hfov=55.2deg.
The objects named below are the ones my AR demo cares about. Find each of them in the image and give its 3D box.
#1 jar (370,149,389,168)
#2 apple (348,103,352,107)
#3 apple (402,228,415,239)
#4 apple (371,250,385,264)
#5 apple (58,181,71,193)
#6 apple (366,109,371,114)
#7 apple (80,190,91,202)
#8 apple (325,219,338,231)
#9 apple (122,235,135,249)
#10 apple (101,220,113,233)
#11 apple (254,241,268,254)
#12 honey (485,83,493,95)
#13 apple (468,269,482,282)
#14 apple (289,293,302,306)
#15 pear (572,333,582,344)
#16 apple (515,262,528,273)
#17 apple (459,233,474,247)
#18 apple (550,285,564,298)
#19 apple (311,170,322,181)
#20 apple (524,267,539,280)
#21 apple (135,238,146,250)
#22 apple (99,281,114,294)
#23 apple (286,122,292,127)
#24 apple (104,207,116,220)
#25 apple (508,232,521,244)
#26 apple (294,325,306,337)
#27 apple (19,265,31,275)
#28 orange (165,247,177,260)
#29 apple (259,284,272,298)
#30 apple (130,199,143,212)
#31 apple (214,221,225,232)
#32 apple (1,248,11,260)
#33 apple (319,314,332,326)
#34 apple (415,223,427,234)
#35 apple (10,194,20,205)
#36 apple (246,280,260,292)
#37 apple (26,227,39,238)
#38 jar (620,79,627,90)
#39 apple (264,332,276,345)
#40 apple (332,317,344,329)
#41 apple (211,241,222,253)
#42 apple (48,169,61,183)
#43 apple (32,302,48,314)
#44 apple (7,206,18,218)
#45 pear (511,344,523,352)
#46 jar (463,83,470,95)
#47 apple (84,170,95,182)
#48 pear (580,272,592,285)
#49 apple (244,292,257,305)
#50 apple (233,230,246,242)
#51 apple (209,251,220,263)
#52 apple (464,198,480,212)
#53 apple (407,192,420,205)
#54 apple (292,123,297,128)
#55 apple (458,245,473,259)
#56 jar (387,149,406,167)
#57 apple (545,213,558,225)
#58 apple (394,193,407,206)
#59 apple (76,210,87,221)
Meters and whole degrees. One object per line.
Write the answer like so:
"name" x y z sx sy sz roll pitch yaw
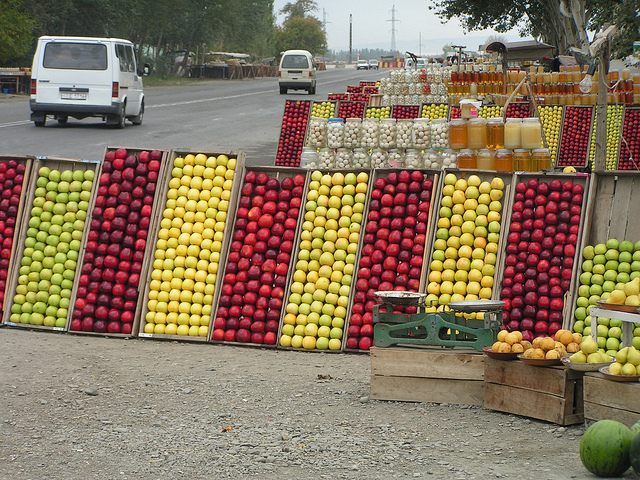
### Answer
"jar" 1.049 -1.384 10.815 0.416 0.428 0.393 0 5 0
"apple" 0.934 -4.083 18.866 0.136 0.107 0.079 0 6 -12
"apple" 1.155 -0.062 7.928 0.139 0.127 0.130 -1 41 -2
"apple" 0.757 0.239 7.924 0.161 0.154 0.146 -7 -19 8
"apple" -3.649 -0.734 8.808 0.162 0.148 0.151 -3 -41 0
"apple" 1.500 -3.868 18.829 0.137 0.145 0.162 1 6 4
"apple" -3.316 -0.601 8.656 0.169 0.156 0.058 3 6 20
"apple" 0.155 -0.185 8.190 0.131 0.148 0.134 7 10 44
"apple" -2.632 0.046 8.514 0.139 0.150 0.141 25 -21 21
"apple" -2.920 -0.172 8.428 0.143 0.163 0.144 0 0 -18
"apple" -0.801 0.118 8.276 0.156 0.137 0.148 -1 5 4
"honey" 5.744 -5.057 20.791 0.256 0.348 0.136 2 5 11
"apple" 1.910 0.450 7.557 0.149 0.141 0.145 -3 2 5
"apple" -0.321 0.789 8.043 0.152 0.138 0.148 -3 7 1
"pear" 2.525 0.969 6.000 0.093 0.104 0.091 4 -20 -1
"apple" 2.466 0.357 7.501 0.120 0.113 0.124 -1 4 -16
"apple" 1.854 0.001 7.728 0.157 0.141 0.153 9 25 28
"apple" 2.823 0.630 7.302 0.143 0.149 0.144 1 7 -19
"apple" -0.061 -0.851 8.468 0.127 0.139 0.122 5 33 -18
"apple" 2.577 0.422 7.448 0.147 0.138 0.144 -1 0 35
"apple" -2.474 0.078 8.435 0.147 0.148 0.081 0 5 -8
"apple" -2.918 0.660 8.375 0.172 0.159 0.147 -6 -39 -4
"apple" -0.853 -3.147 17.068 0.121 0.115 0.114 1 3 3
"apple" -2.909 -0.339 8.479 0.154 0.175 0.147 3 1 -5
"apple" 2.405 -0.004 7.566 0.132 0.126 0.127 -5 5 28
"apple" -0.259 1.181 7.988 0.148 0.136 0.136 1 13 2
"apple" -4.157 0.438 8.656 0.187 0.131 0.059 3 6 23
"orange" -2.039 0.202 8.378 0.172 0.155 0.078 1 5 -4
"apple" -0.719 0.688 8.134 0.161 0.146 0.153 -2 2 2
"apple" -2.548 -0.452 8.500 0.158 0.171 0.085 -1 6 -22
"apple" -1.370 -0.167 8.387 0.130 0.126 0.070 17 -2 13
"apple" -4.451 0.213 8.689 0.142 0.164 0.140 -5 -6 4
"apple" 0.077 1.052 7.965 0.148 0.136 0.137 1 -6 1
"apple" 1.305 -0.130 7.896 0.128 0.115 0.124 -13 8 1
"apple" -4.353 -0.560 8.762 0.127 0.148 0.123 3 2 5
"apple" -0.888 0.631 8.180 0.153 0.136 0.144 0 9 2
"apple" -4.082 -0.079 8.724 0.132 0.127 0.122 3 -13 3
"jar" 10.598 -5.322 21.345 0.214 0.361 0.156 3 6 16
"apple" -0.651 1.298 8.048 0.148 0.141 0.145 0 3 -1
"apple" 0.234 1.084 7.922 0.138 0.122 0.125 -1 -7 4
"apple" -1.410 0.108 8.343 0.131 0.147 0.130 10 4 -18
"apple" -3.810 -0.888 8.811 0.194 0.176 0.099 2 6 13
"apple" -3.887 0.953 8.501 0.160 0.154 0.154 11 -11 -32
"apple" -4.390 -0.384 8.835 0.137 0.158 0.144 -1 6 -1
"pear" 1.854 1.020 5.752 0.081 0.062 0.061 -21 -28 13
"jar" 5.053 -5.123 21.106 0.218 0.377 0.152 1 5 4
"apple" -3.274 -0.886 8.701 0.174 0.156 0.084 2 5 7
"pear" 3.143 0.467 7.249 0.125 0.147 0.135 2 -13 36
"apple" -0.924 0.781 8.149 0.148 0.136 0.146 0 10 4
"apple" -1.096 -0.035 8.381 0.154 0.143 0.151 -6 1 5
"apple" -1.424 0.249 8.399 0.121 0.137 0.124 28 15 16
"apple" 1.925 -0.422 7.761 0.163 0.147 0.152 3 10 27
"apple" 1.228 -0.511 7.990 0.150 0.139 0.146 -2 4 4
"apple" -0.707 -3.122 17.013 0.108 0.100 0.104 -2 11 -9
"apple" 1.817 0.158 7.649 0.157 0.145 0.158 2 2 24
"jar" 1.295 -1.388 10.564 0.331 0.311 0.338 1 4 0
"apple" 2.826 -0.234 7.508 0.137 0.126 0.128 -18 33 -13
"apple" 1.058 -0.506 8.019 0.156 0.148 0.148 6 44 15
"apple" -3.343 -0.322 8.600 0.129 0.130 0.137 16 -12 -39
